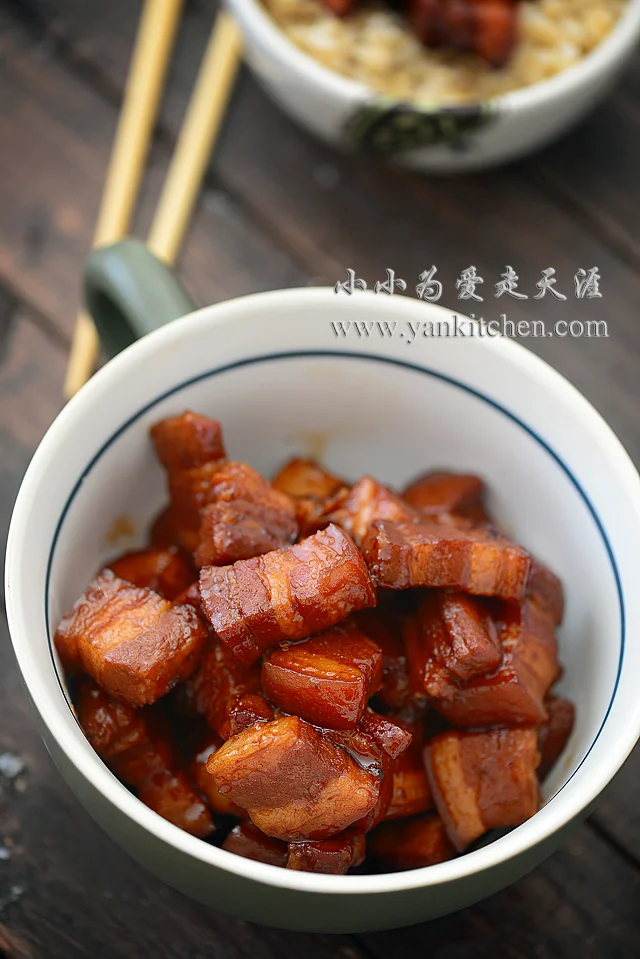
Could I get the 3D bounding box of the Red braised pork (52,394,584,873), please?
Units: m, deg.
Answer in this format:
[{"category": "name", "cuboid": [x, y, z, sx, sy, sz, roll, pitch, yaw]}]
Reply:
[{"category": "Red braised pork", "cuboid": [0.006, 0.080, 0.400, 0.216, 0.092, 0.214, -1, 31, -9]}]
